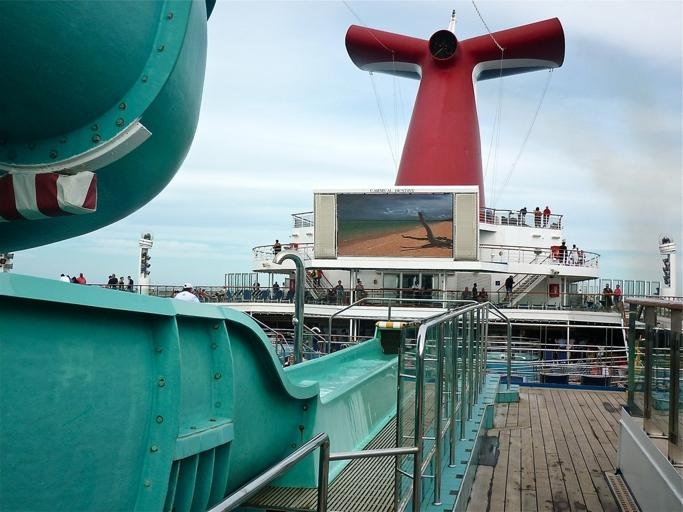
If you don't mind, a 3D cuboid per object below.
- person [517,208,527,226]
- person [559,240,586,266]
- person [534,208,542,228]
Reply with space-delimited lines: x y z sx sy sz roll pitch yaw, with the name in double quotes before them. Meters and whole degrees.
"person" 8.937 -1.990 31.694 0.430 0.934 1.694 8 1 15
"person" 10.230 0.026 28.630 1.149 0.822 0.586 3 -4 -41
"person" 9.932 -1.928 32.404 0.421 1.051 0.886 7 1 16
